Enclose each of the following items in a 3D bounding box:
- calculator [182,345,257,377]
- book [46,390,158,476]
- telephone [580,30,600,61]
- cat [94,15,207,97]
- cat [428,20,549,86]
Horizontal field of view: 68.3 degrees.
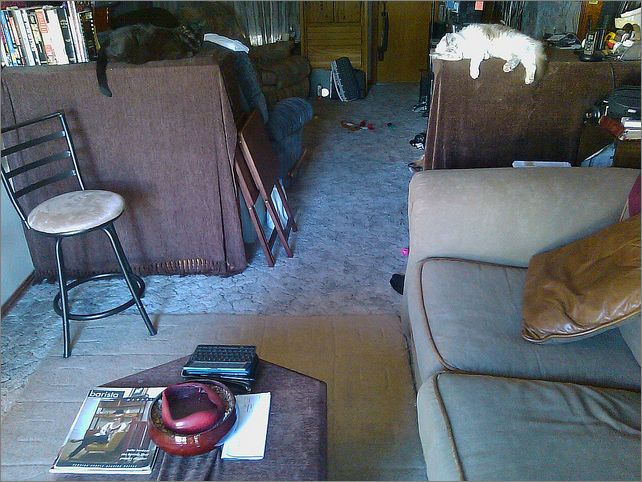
[{"bbox_3d":[-0.325,0.387,1.560,0.219,0.036,0.126,1,28,9],"label":"calculator"},{"bbox_3d":[-0.625,0.500,1.335,0.349,0.031,0.271,0,38,2],"label":"book"},{"bbox_3d":[1.465,-1.051,2.555,0.078,0.133,0.200,14,33,22],"label":"telephone"},{"bbox_3d":[-0.929,-0.982,2.576,0.664,0.178,0.417,-6,70,-12],"label":"cat"},{"bbox_3d":[0.922,-1.026,2.604,0.591,0.288,0.260,4,32,9],"label":"cat"}]
